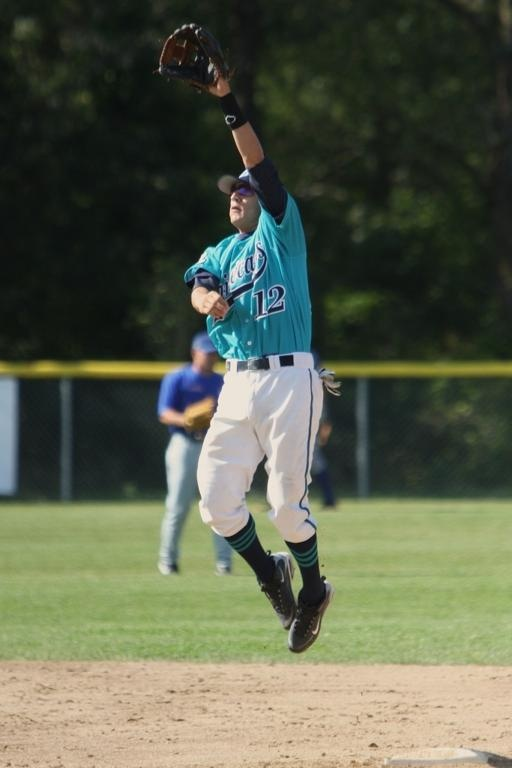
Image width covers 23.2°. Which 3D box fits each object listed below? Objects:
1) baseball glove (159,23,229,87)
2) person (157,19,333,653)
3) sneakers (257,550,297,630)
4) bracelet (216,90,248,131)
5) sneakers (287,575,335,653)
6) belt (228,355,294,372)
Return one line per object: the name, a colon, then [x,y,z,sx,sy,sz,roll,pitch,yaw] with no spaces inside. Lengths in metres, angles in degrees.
baseball glove: [-0.246,-1.238,4.741,0.264,0.202,0.267,6,5,2]
person: [-0.028,-0.134,4.933,0.631,2.476,0.501,0,2,4]
sneakers: [0.111,0.849,5.145,0.118,0.347,0.171,-11,-9,30]
bracelet: [-0.103,-1.047,4.827,0.101,0.163,0.065,-24,-1,27]
sneakers: [0.209,0.982,5.117,0.121,0.362,0.146,17,-12,21]
belt: [-0.002,-0.080,4.828,0.275,0.063,0.074,1,2,24]
